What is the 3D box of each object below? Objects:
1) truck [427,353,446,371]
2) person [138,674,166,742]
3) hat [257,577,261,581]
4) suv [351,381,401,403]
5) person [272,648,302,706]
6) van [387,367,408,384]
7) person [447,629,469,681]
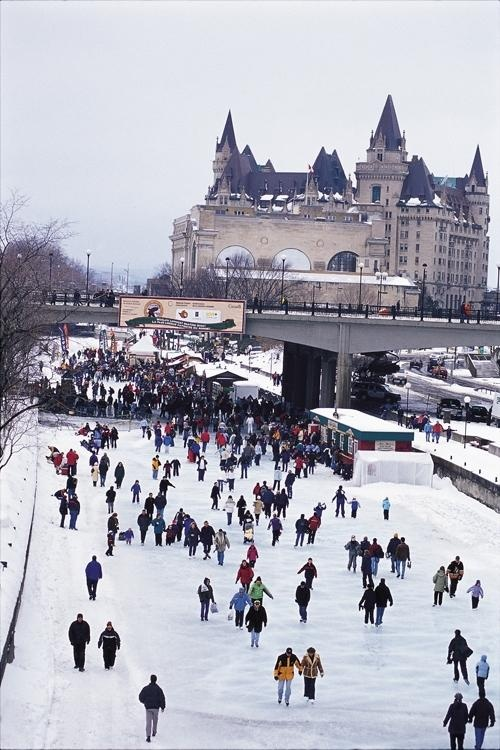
[{"bbox_3d":[14.513,-1.067,102.006,0.913,0.994,2.426,4,14,11],"label":"truck"},{"bbox_3d":[-1.351,4.537,18.121,0.323,1.018,0.713,1,5,-5],"label":"person"},{"bbox_3d":[0.163,3.572,22.996,0.054,0.090,0.074,0,-5,3],"label":"hat"},{"bbox_3d":[6.328,1.044,67.982,1.984,1.266,1.182,-1,2,27],"label":"suv"},{"bbox_3d":[0.586,4.508,20.133,0.405,1.092,1.540,1,6,3],"label":"person"},{"bbox_3d":[9.441,0.139,83.759,1.088,1.420,2.784,1,-2,-7],"label":"van"},{"bbox_3d":[3.368,4.500,21.225,0.348,0.983,1.008,2,5,8],"label":"person"}]
